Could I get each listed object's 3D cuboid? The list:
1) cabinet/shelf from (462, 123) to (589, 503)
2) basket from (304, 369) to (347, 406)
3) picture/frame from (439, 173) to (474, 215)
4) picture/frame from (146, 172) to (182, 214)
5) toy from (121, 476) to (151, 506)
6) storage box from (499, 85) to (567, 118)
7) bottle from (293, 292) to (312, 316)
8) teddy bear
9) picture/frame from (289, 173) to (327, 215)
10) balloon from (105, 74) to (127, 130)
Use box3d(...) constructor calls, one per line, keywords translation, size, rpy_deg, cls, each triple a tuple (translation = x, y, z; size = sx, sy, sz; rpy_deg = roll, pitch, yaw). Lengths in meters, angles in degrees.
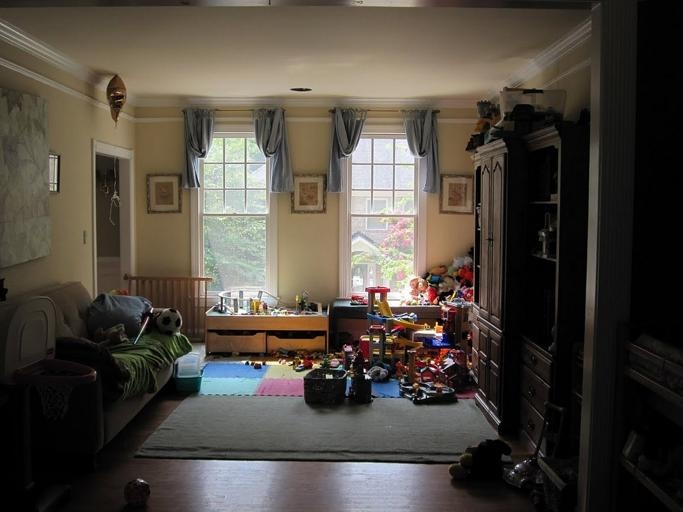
box3d(translation=(1.501, 0.239, 4.222), size=(0.551, 2.509, 1.663), rpy_deg=(0, 9, 3), cls="cabinet/shelf")
box3d(translation=(-0.150, 1.247, 5.085), size=(0.302, 0.203, 0.311), rpy_deg=(0, -3, 2), cls="basket")
box3d(translation=(1.488, -0.826, 6.853), size=(0.503, 0.588, 0.040), rpy_deg=(0, 0, -1), cls="picture/frame")
box3d(translation=(-2.320, -0.852, 6.935), size=(0.477, 0.558, 0.059), rpy_deg=(0, 0, -3), cls="picture/frame")
box3d(translation=(-1.349, 1.525, 3.530), size=(0.156, 0.168, 0.156), rpy_deg=(7, 1, -4), cls="toy")
box3d(translation=(1.559, -1.274, 4.355), size=(0.506, 0.222, 0.252), rpy_deg=(3, 10, 16), cls="storage box")
box3d(translation=(-0.499, 0.535, 6.767), size=(0.197, 0.272, 0.372), rpy_deg=(-2, 2, -14), cls="bottle")
box3d(translation=(0.974, 1.488, 3.806), size=(0.315, 0.091, 0.329), rpy_deg=(-13, 22, 10), cls="teddy bear")
box3d(translation=(-0.435, -0.840, 6.887), size=(0.472, 0.530, 0.037), rpy_deg=(1, 2, -3), cls="picture/frame")
box3d(translation=(-2.415, -1.709, 5.698), size=(0.174, 0.496, 0.312), rpy_deg=(-4, 10, -22), cls="balloon")
